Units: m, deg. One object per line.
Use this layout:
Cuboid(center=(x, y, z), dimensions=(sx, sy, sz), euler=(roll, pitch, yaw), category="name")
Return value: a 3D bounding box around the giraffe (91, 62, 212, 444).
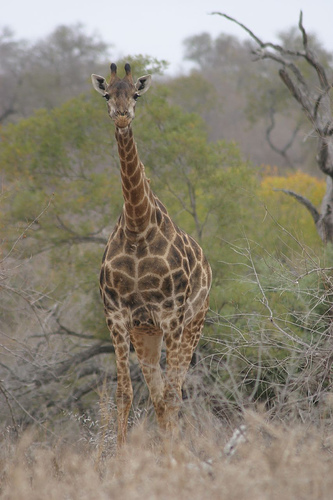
Cuboid(center=(-0.161, 0.139, 9.537), dimensions=(1.008, 3.917, 1.755), euler=(-4, 11, 3), category="giraffe")
